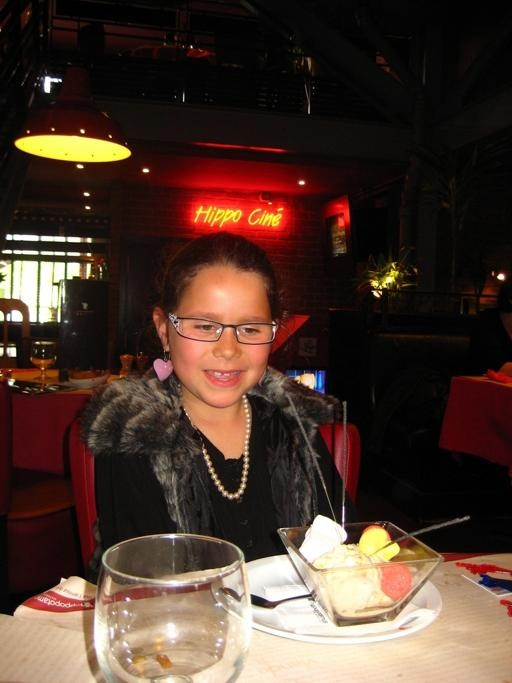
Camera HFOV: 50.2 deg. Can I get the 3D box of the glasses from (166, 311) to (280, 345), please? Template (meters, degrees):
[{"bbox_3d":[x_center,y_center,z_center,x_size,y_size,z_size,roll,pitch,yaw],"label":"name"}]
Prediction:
[{"bbox_3d":[-0.074,-0.022,1.214,0.215,0.060,0.088,1,4,-12],"label":"glasses"}]

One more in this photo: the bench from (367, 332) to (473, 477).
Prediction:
[{"bbox_3d":[1.158,0.397,4.055,0.817,0.954,0.987,9,3,17],"label":"bench"}]

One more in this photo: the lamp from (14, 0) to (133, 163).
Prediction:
[{"bbox_3d":[-1.149,-1.369,3.156,0.722,0.711,0.681,10,9,43],"label":"lamp"}]

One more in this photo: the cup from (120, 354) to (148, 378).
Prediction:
[{"bbox_3d":[-0.659,0.128,2.969,0.137,0.137,0.132,0,7,0],"label":"cup"}]

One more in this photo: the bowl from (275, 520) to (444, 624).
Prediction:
[{"bbox_3d":[0.127,0.305,0.695,0.184,0.077,0.193,-2,-10,0],"label":"bowl"}]
